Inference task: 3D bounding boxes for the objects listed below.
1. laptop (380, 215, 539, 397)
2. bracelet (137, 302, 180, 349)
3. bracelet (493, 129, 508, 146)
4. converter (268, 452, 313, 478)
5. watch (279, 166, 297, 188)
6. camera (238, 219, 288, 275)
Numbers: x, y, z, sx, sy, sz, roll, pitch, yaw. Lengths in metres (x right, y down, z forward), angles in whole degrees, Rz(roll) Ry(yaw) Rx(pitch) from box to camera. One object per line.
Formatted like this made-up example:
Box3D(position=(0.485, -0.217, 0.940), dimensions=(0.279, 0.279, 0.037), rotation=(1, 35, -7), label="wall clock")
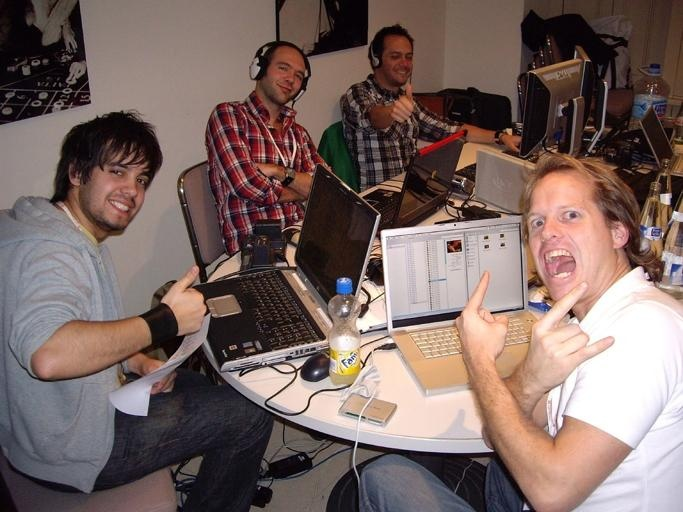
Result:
Box3D(position=(0.414, 0.101, 1.657), dimensions=(0.639, 0.415, 0.536), rotation=(-11, 32, -13), label="laptop")
Box3D(position=(-0.602, 0.226, 1.595), dimensions=(0.137, 0.133, 0.125), rotation=(-32, 2, -30), label="bracelet")
Box3D(position=(1.131, -0.847, 3.347), dimensions=(0.084, 0.043, 0.118), rotation=(-11, 36, 24), label="bracelet")
Box3D(position=(-0.251, 1.007, 2.264), dimensions=(0.164, 0.054, 0.090), rotation=(-10, 25, -28), label="converter")
Box3D(position=(-0.307, -0.443, 2.744), dimensions=(0.065, 0.107, 0.110), rotation=(26, 45, -18), label="watch")
Box3D(position=(-0.371, -0.004, 2.202), dimensions=(0.179, 0.181, 0.263), rotation=(3, -7, -4), label="camera")
